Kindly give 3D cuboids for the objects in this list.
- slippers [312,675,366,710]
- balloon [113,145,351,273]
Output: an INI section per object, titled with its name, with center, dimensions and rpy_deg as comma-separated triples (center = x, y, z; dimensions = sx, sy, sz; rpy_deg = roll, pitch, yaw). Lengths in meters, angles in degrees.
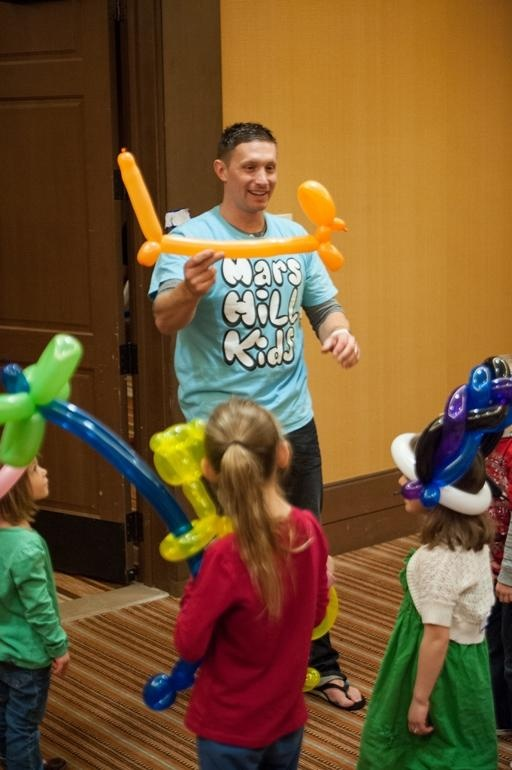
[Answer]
[slippers]
center = 0.268, 0.971, 2.249
dimensions = 0.071, 0.042, 0.179
rpy_deg = -6, 3, -34
[balloon]
center = -0.064, -0.345, 1.495
dimensions = 0.278, 0.194, 0.609
rpy_deg = 4, 8, 38
